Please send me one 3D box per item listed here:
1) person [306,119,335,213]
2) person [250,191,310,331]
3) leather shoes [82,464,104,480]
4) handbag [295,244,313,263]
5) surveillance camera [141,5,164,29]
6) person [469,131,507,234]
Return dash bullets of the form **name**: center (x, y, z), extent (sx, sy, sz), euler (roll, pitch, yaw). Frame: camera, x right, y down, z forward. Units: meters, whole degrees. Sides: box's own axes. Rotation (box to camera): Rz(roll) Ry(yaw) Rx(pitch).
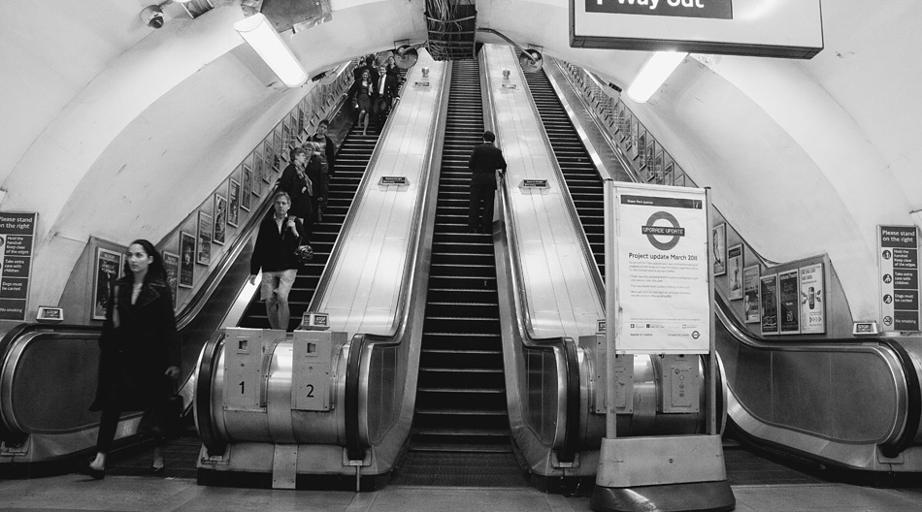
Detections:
- **person**: center (-2.632, -1.770, 11.984), extent (0.502, 1.340, 0.386), euler (6, 3, -37)
- **person**: center (-2.619, 0.082, 9.117), extent (0.703, 1.989, 1.126), euler (1, -1, -16)
- **leather shoes**: center (-3.972, 2.314, 6.936), extent (0.268, 0.124, 0.119), euler (1, 0, 24)
- **handbag**: center (-2.293, -0.064, 9.358), extent (0.300, 0.155, 0.388), euler (11, -22, -20)
- **surveillance camera**: center (-3.576, -2.782, 7.511), extent (0.211, 0.266, 0.275), euler (-3, -1, -11)
- **person**: center (0.440, -1.224, 11.491), extent (0.616, 1.596, 0.300), euler (1, -1, 1)
